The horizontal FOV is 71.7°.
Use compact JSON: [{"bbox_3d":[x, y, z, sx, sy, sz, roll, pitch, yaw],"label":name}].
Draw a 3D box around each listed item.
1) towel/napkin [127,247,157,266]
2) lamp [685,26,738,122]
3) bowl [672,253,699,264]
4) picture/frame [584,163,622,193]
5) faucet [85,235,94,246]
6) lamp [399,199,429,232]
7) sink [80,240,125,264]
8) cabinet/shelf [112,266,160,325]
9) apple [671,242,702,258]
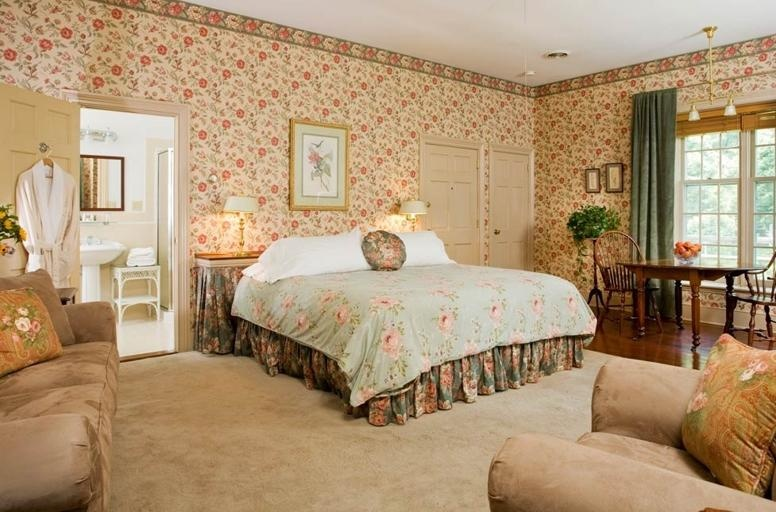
[{"bbox_3d":[-3.125,0.019,6.812,0.276,0.114,0.284,-6,10,-32],"label":"towel/napkin"},{"bbox_3d":[3.697,-2.016,6.096,0.471,1.007,0.968,3,5,32],"label":"lamp"},{"bbox_3d":[3.147,0.028,5.677,0.165,0.078,0.163,0,-4,0],"label":"bowl"},{"bbox_3d":[3.000,-1.081,7.411,0.035,0.389,0.473,0,0,-36],"label":"picture/frame"},{"bbox_3d":[-3.719,-0.212,6.702,0.116,0.146,0.100,1,1,30],"label":"faucet"},{"bbox_3d":[0.305,-0.499,6.790,0.384,0.509,0.393,0,-5,0],"label":"lamp"},{"bbox_3d":[-3.491,-0.031,6.575,0.470,0.297,0.532,-2,4,-28],"label":"sink"},{"bbox_3d":[-3.175,0.469,6.780,0.585,0.698,0.668,-3,5,-26],"label":"cabinet/shelf"},{"bbox_3d":[3.249,-0.062,5.854,0.248,0.150,0.269,1,-4,-18],"label":"apple"}]
